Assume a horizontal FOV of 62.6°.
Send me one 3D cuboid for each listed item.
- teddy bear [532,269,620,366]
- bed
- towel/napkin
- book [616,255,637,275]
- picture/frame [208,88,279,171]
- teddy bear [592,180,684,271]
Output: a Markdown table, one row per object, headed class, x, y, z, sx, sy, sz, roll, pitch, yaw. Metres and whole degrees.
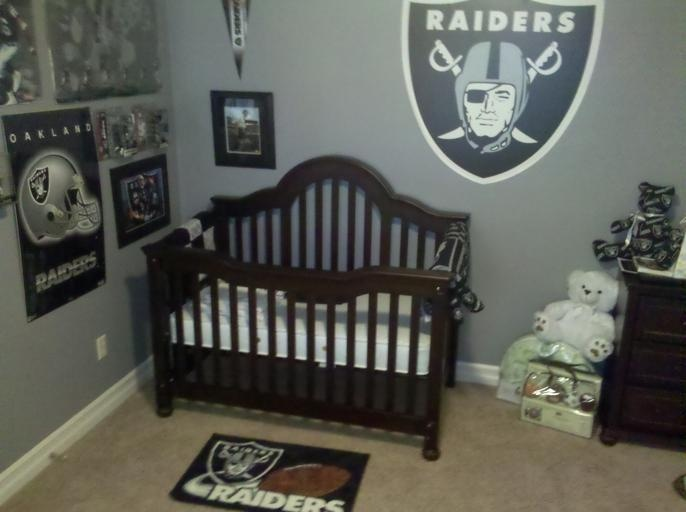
| class | x | y | z | sx | sy | sz | roll | pitch | yaw |
| --- | --- | --- | --- | --- | --- | --- | --- | --- | --- |
| teddy bear | 1.267 | 0.298 | 2.955 | 0.342 | 0.423 | 0.401 | -6 | 22 | -42 |
| bed | -0.173 | 0.200 | 3.033 | 1.484 | 1.319 | 0.941 | 6 | 16 | 15 |
| towel/napkin | 0.555 | 0.044 | 2.811 | 0.347 | 0.482 | 0.175 | -2 | -22 | 1 |
| book | 1.424 | 0.042 | 2.823 | 0.130 | 0.015 | 0.149 | 4 | 34 | 11 |
| picture/frame | -0.559 | -0.751 | 3.251 | 0.426 | 0.496 | 0.041 | 4 | 23 | 15 |
| teddy bear | 1.528 | -0.142 | 2.848 | 0.230 | 0.441 | 0.439 | -9 | 20 | -34 |
